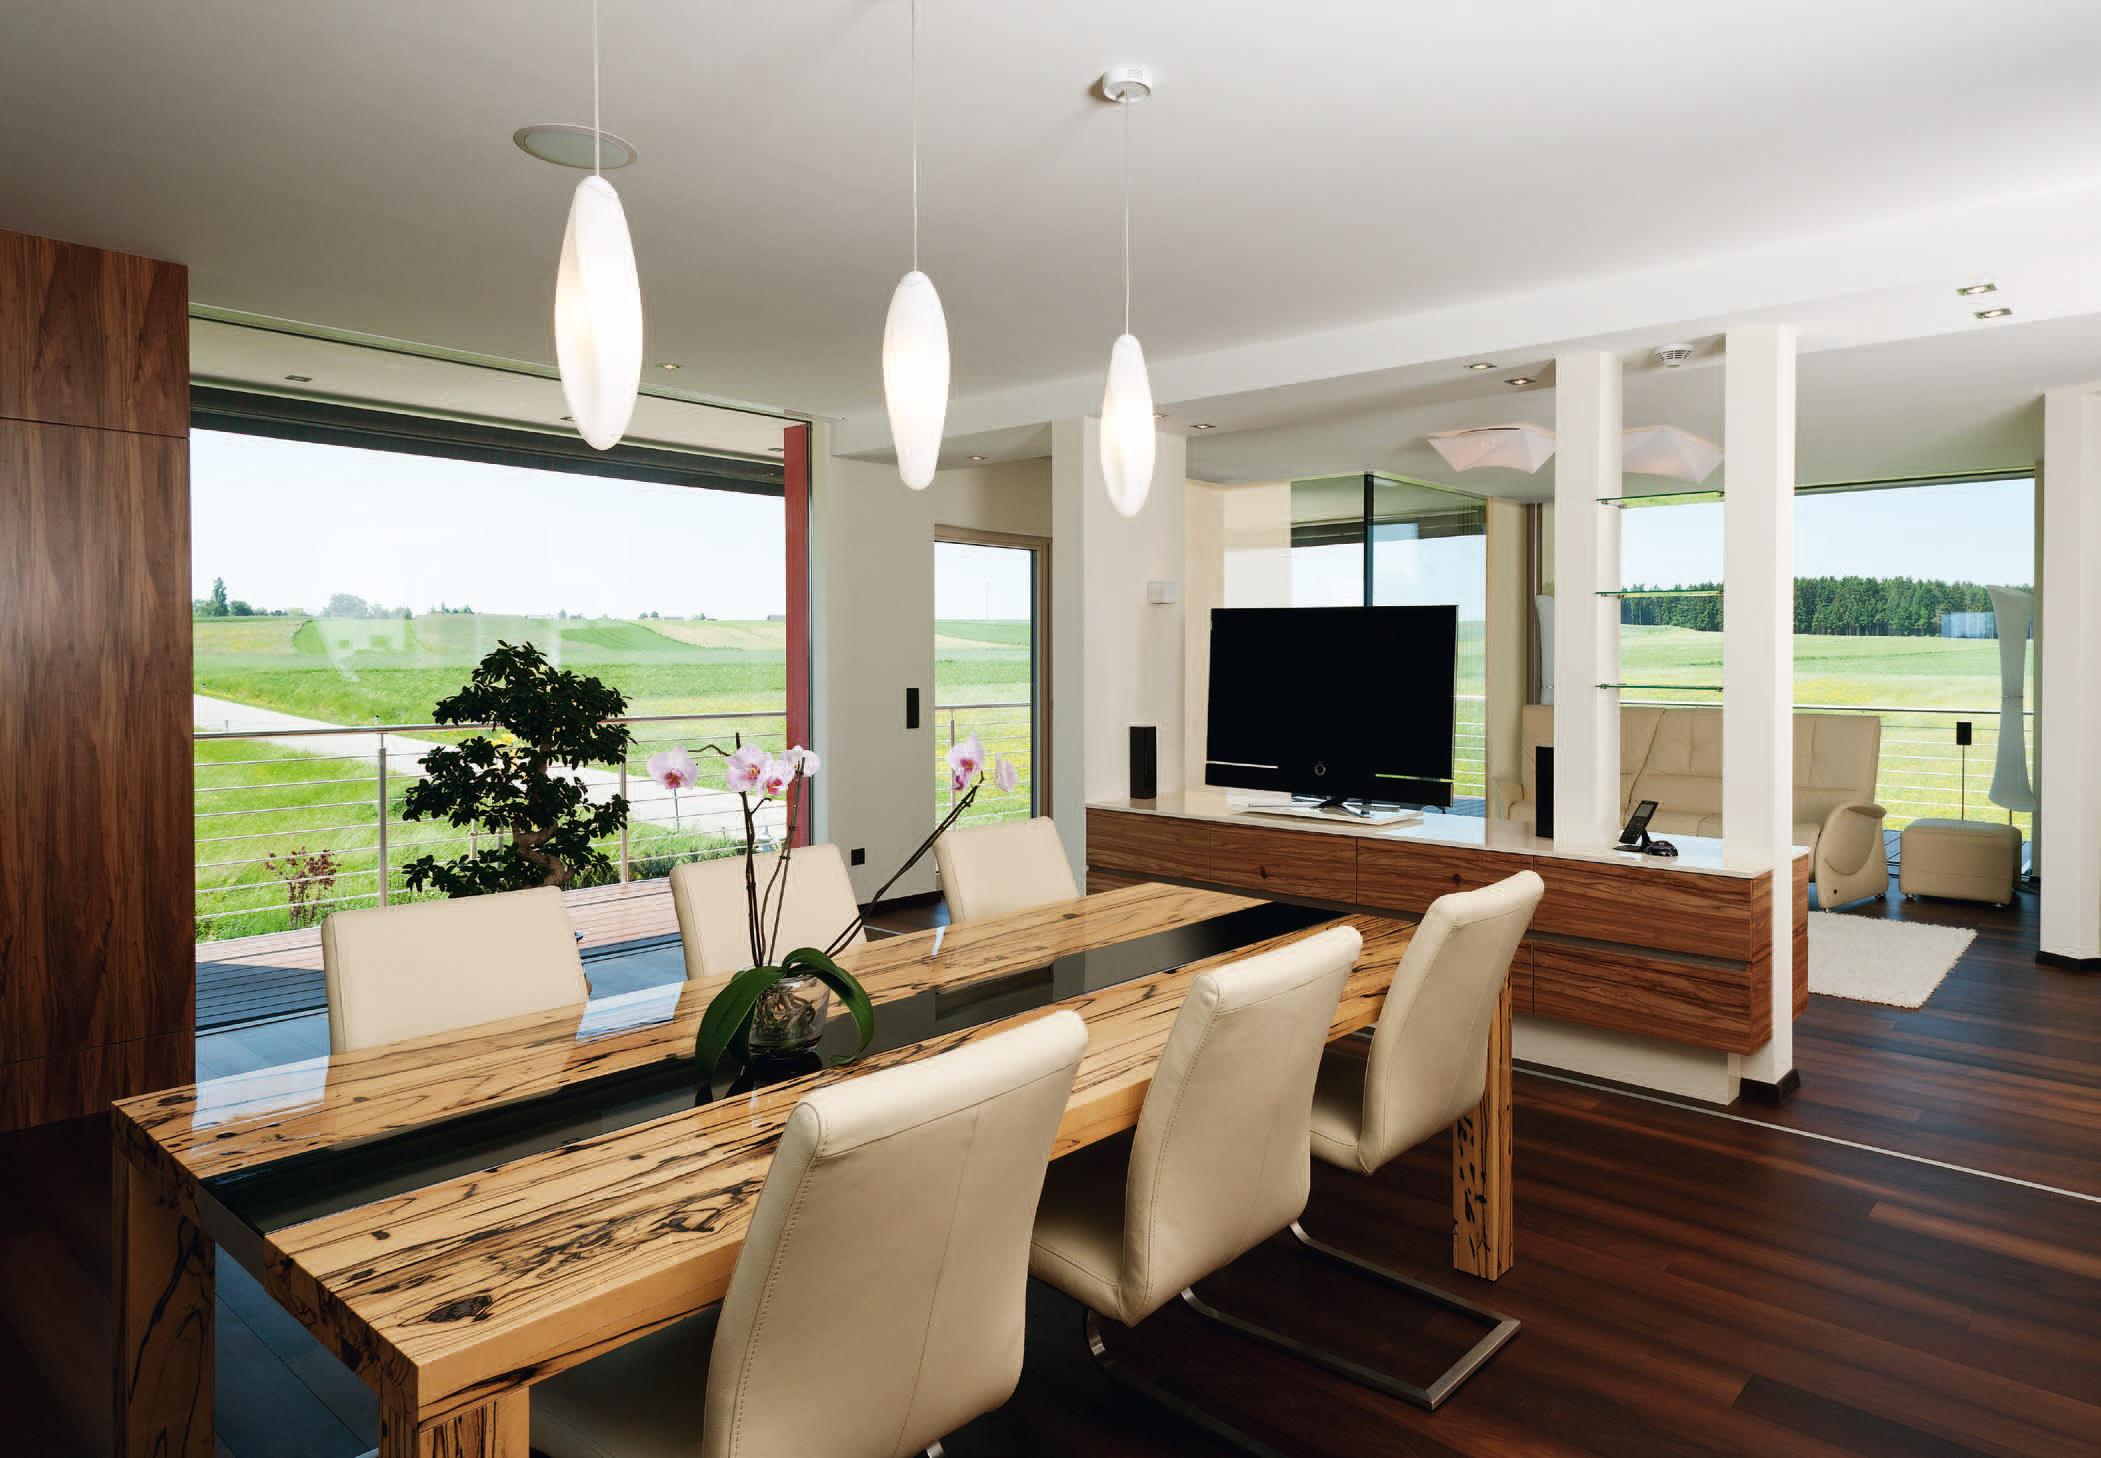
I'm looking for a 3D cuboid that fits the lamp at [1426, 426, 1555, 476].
[{"bbox_3d":[2.123,-1.364,6.305,0.550,0.196,0.270,3,13,17],"label":"lamp"}]

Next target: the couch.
[{"bbox_3d":[4.157,0.462,8.149,0.845,1.017,1.792,-13,8,-29],"label":"couch"}]

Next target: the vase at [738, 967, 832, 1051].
[{"bbox_3d":[-0.631,0.631,3.011,0.175,0.140,0.165,1,5,5],"label":"vase"}]

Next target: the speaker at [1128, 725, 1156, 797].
[{"bbox_3d":[0.426,0.161,6.100,0.113,0.332,0.099,-2,13,-4],"label":"speaker"}]

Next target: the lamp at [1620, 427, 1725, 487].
[{"bbox_3d":[2.995,-1.326,6.295,0.411,0.249,0.503,5,14,25],"label":"lamp"}]

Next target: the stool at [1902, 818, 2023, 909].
[{"bbox_3d":[5.212,0.773,7.461,0.519,0.399,0.508,-3,4,-44],"label":"stool"}]

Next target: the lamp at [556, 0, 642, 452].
[{"bbox_3d":[-1.014,-0.930,2.891,0.178,0.586,0.199,-4,14,-13],"label":"lamp"}]

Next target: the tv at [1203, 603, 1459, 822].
[{"bbox_3d":[1.155,-0.110,5.536,1.148,0.816,0.035,4,5,38],"label":"tv"}]

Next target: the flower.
[{"bbox_3d":[-0.662,0.431,3.085,0.644,0.809,0.524,-2,-9,7],"label":"flower"}]

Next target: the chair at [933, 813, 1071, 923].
[{"bbox_3d":[-0.163,0.457,4.240,0.355,0.340,0.272,-6,4,-39],"label":"chair"}]
